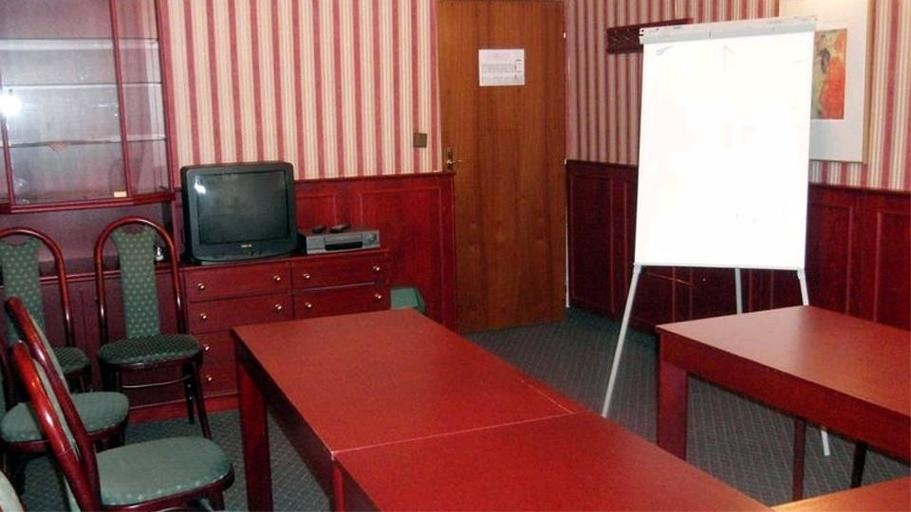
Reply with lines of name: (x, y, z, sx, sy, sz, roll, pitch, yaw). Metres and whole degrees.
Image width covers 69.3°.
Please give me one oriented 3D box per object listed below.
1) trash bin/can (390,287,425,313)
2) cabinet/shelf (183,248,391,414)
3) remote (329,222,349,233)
trash bin/can: (-0.440, 0.412, 6.204, 0.320, 0.207, 0.235, -3, 12, -15)
cabinet/shelf: (-1.275, 0.526, 4.591, 1.287, 0.882, 0.449, -6, 7, -22)
remote: (-1.006, -0.239, 5.776, 0.207, 0.041, 0.213, -9, 15, -17)
